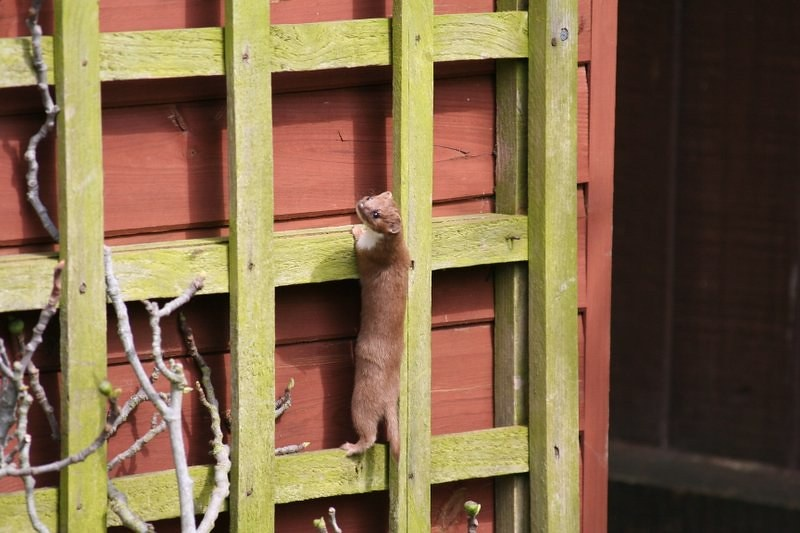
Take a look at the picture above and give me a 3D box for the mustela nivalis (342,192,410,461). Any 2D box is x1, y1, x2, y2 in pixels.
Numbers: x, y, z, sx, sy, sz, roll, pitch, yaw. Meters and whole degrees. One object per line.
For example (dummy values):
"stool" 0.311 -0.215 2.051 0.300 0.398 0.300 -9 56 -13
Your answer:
"mustela nivalis" -0.114 0.316 8.719 0.361 1.466 0.521 -5 3 -39
